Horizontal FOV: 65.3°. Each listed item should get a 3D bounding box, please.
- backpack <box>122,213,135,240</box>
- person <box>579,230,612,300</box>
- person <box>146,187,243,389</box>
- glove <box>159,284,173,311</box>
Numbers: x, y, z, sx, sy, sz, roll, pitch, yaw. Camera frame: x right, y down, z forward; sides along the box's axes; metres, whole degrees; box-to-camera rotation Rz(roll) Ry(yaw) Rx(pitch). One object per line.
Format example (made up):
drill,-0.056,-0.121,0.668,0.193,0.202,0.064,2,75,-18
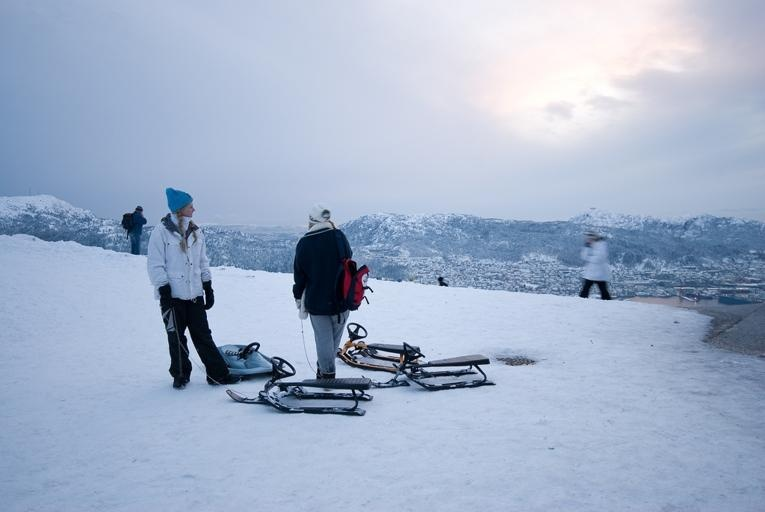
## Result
backpack,-9.736,-1.160,22.731,0.361,0.922,0.781,-9,15,-38
person,6.106,0.280,17.015,0.823,1.999,0.841,4,12,15
person,-3.546,0.594,10.755,1.212,3.559,0.739,-5,13,-22
glove,-3.821,0.719,10.485,0.298,0.381,0.154,-11,0,-40
